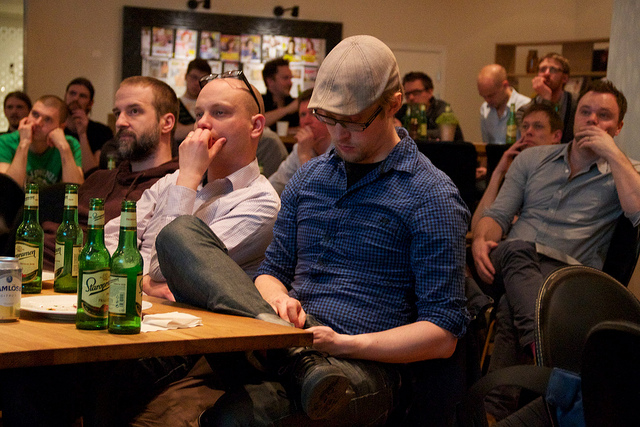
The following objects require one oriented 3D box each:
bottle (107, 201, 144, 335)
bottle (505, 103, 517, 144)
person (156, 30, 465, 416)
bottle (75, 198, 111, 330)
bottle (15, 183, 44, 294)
[{"bbox_3d":[-0.559,0.152,1.626,0.098,0.370,0.115,-2,11,-20],"label":"bottle"},{"bbox_3d":[1.727,-0.814,5.131,0.082,0.342,0.435,5,11,17],"label":"bottle"},{"bbox_3d":[-0.003,0.031,2.051,0.953,1.348,0.738,-4,12,-30],"label":"person"},{"bbox_3d":[-0.685,0.146,1.705,0.104,0.368,0.236,-3,11,-23],"label":"bottle"},{"bbox_3d":[-1.050,0.084,2.058,0.087,0.390,0.223,-4,12,-28],"label":"bottle"}]
